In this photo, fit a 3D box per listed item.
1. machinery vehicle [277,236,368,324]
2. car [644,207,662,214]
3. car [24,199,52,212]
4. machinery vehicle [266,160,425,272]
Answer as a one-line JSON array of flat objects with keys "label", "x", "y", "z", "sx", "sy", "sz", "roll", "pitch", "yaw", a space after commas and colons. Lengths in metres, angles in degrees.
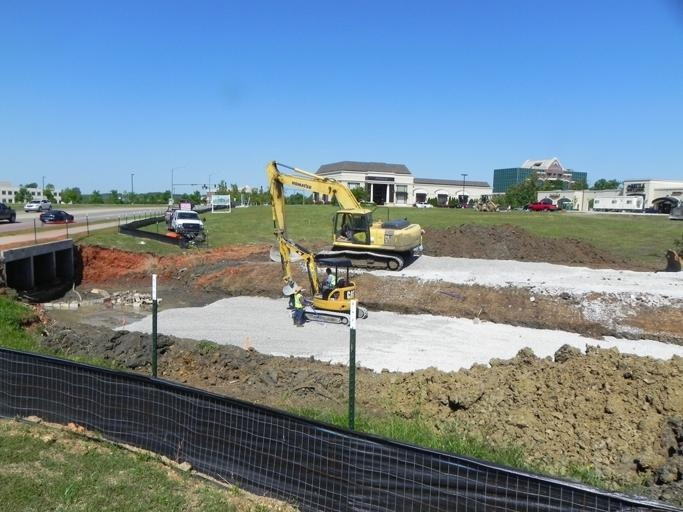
[{"label": "machinery vehicle", "x": -1.165, "y": 0.759, "z": 22.225, "sx": 3.877, "sy": 3.262, "sz": 1.632, "roll": 5, "pitch": 12, "yaw": 24}, {"label": "car", "x": 37.594, "y": -5.435, "z": 70.772, "sx": 2.532, "sy": 0.980, "sz": 1.936, "roll": 0, "pitch": 2, "yaw": -43}, {"label": "car", "x": -31.148, "y": -5.068, "z": 60.022, "sx": 1.346, "sy": 1.058, "sz": 2.733, "roll": 1, "pitch": 3, "yaw": -2}, {"label": "machinery vehicle", "x": -0.141, "y": -1.895, "z": 29.949, "sx": 7.123, "sy": 5.027, "sz": 3.044, "roll": 1, "pitch": 5, "yaw": 12}]
